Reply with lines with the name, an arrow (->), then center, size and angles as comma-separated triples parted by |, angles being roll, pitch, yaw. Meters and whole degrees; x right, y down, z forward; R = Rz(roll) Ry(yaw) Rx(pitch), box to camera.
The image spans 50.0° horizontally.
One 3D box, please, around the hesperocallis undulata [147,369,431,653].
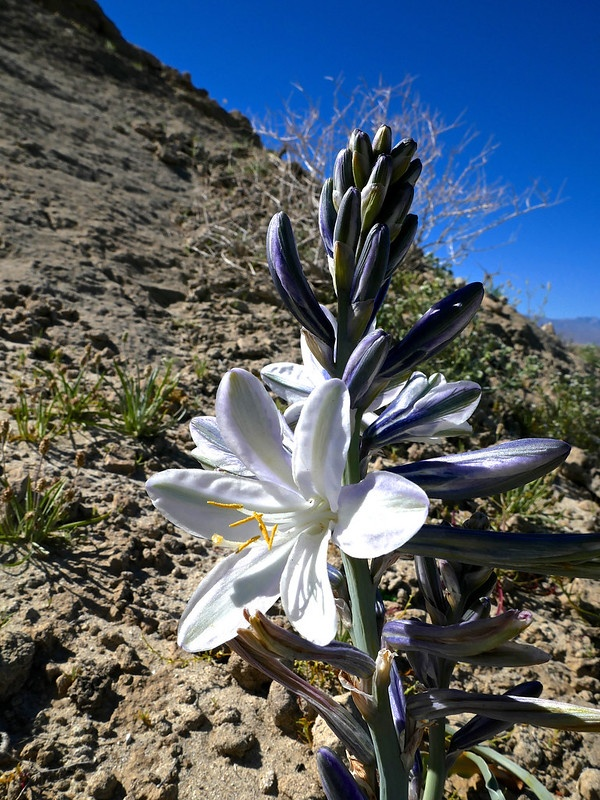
hesperocallis undulata -> -0.046, 0.266, 1.516 | 0.683, 0.584, 0.239 | 9, 3, 17
